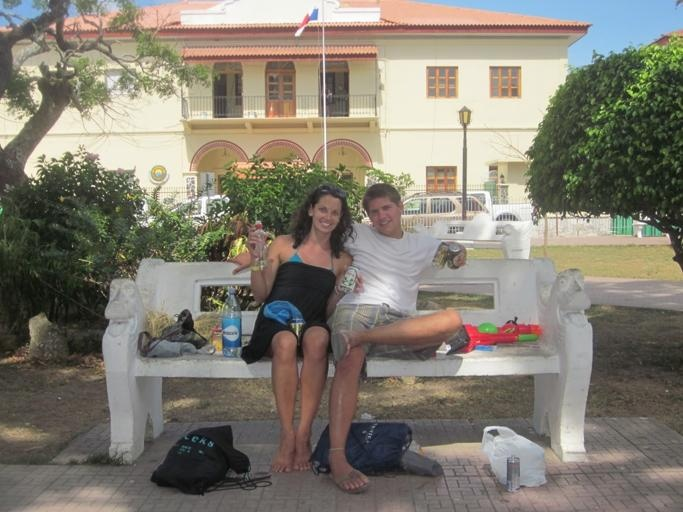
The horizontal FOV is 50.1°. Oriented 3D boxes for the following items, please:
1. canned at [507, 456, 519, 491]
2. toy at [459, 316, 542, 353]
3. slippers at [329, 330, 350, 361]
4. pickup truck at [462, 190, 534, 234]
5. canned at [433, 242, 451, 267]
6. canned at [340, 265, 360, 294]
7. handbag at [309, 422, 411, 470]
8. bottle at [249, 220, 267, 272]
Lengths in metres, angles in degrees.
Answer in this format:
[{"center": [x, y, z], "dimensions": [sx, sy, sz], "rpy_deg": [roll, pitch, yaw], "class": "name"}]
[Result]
[{"center": [1.374, 1.733, 5.832], "dimensions": [0.108, 0.259, 0.106], "rpy_deg": [1, 7, 5], "class": "canned"}, {"center": [1.432, 0.707, 6.605], "dimensions": [0.470, 0.162, 0.360], "rpy_deg": [-5, 3, -8], "class": "toy"}, {"center": [-0.013, 0.735, 5.991], "dimensions": [0.127, 0.244, 0.091], "rpy_deg": [4, -1, 17], "class": "slippers"}, {"center": [5.930, -1.775, 26.695], "dimensions": [2.425, 1.266, 2.516], "rpy_deg": [3, 0, 17], "class": "pickup truck"}, {"center": [0.909, -0.024, 6.712], "dimensions": [0.148, 0.171, 0.192], "rpy_deg": [32, -1, -5], "class": "canned"}, {"center": [0.078, 0.212, 6.415], "dimensions": [0.130, 0.236, 0.078], "rpy_deg": [12, -16, 28], "class": "canned"}, {"center": [0.184, 1.557, 6.015], "dimensions": [0.531, 0.184, 0.467], "rpy_deg": [0, 42, -2], "class": "handbag"}, {"center": [-0.714, -0.091, 6.297], "dimensions": [0.138, 0.441, 0.353], "rpy_deg": [-1, 7, -7], "class": "bottle"}]
